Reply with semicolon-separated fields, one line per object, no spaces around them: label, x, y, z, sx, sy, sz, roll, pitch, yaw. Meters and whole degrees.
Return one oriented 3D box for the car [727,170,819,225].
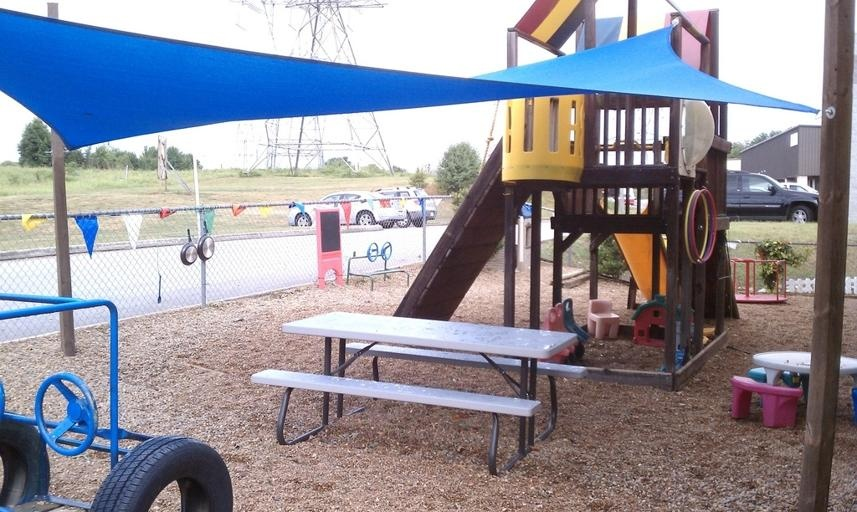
car;9.941;-1.678;21.158;2.325;1.414;0.925;6;14;21

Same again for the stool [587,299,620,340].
stool;2.696;0.977;11.185;0.460;0.517;0.557;-1;13;-9

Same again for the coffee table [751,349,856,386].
coffee table;3.911;1.187;7.583;0.802;0.219;0.822;-1;0;3
